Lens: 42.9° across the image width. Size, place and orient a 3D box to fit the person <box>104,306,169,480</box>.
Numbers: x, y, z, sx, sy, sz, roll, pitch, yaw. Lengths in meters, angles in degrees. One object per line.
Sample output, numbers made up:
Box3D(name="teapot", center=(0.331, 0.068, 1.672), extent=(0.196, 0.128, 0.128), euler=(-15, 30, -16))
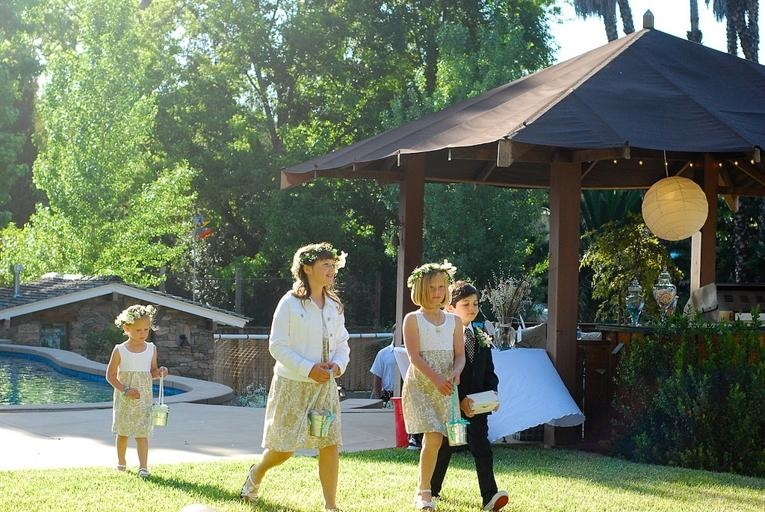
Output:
Box3D(name="person", center=(-3.038, 1.646, 12.315), extent=(0.692, 1.943, 0.928), euler=(1, -2, -31))

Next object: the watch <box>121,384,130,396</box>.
Box3D(name="watch", center=(-3.138, 1.661, 12.073), extent=(0.091, 0.111, 0.040), euler=(-6, -29, 5))

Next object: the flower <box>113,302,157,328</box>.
Box3D(name="flower", center=(-3.089, 0.741, 12.562), extent=(0.634, 0.289, 0.641), euler=(-3, 0, -5))

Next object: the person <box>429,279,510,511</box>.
Box3D(name="person", center=(1.075, 1.621, 11.529), extent=(0.804, 2.644, 0.828), euler=(3, -4, -30))

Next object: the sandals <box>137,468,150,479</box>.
Box3D(name="sandals", center=(-2.859, 2.629, 11.835), extent=(0.134, 0.120, 0.186), euler=(4, -8, -14))

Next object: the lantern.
Box3D(name="lantern", center=(4.265, -0.756, 14.570), extent=(0.913, 0.951, 0.378), euler=(0, -7, 16))

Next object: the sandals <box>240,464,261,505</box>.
Box3D(name="sandals", center=(-1.510, 2.618, 11.231), extent=(0.171, 0.461, 0.118), euler=(1, 6, -13))

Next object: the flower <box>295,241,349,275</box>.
Box3D(name="flower", center=(-0.753, -0.012, 11.285), extent=(0.437, 0.266, 0.429), euler=(2, 1, -3))

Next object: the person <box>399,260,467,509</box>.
Box3D(name="person", center=(0.558, 1.471, 11.292), extent=(0.697, 2.874, 0.422), euler=(2, -7, 3))
